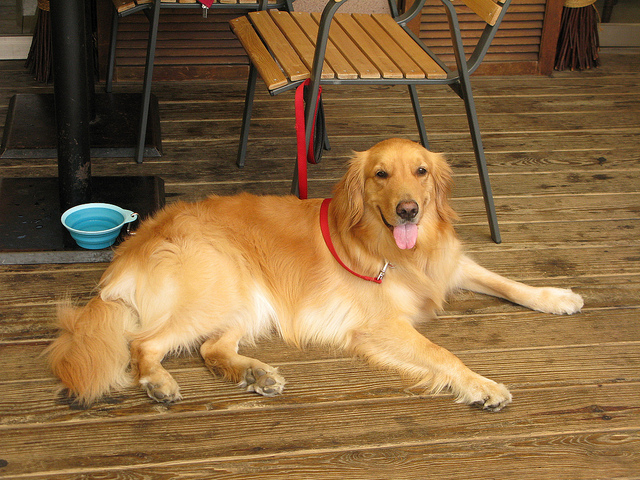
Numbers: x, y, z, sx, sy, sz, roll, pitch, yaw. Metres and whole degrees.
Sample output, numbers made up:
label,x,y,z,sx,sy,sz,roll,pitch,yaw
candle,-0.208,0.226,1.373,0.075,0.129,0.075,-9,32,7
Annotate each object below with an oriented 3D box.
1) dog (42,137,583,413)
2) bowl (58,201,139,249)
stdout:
label,x,y,z,sx,sy,sz,roll,pitch,yaw
dog,-0.130,0.108,2.563,1.979,0.609,1.002,3,22,4
bowl,-1.016,-0.084,2.998,0.401,0.100,0.230,1,24,-7
